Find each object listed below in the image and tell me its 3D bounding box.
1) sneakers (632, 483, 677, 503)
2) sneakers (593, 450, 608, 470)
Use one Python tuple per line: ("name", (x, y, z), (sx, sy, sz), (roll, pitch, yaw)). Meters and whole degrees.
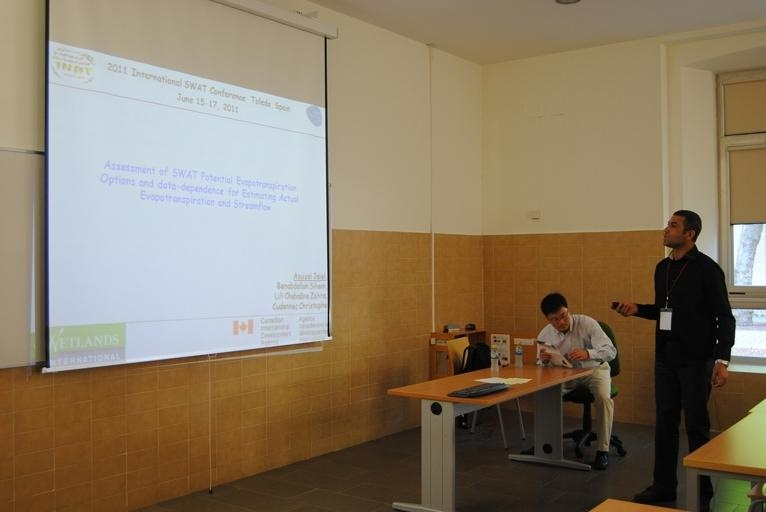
("sneakers", (2.282, 1.993, 5.032), (0.429, 0.171, 0.149), (1, -5, -4))
("sneakers", (2.131, 1.976, 5.798), (0.087, 0.180, 0.263), (2, 5, 26))
